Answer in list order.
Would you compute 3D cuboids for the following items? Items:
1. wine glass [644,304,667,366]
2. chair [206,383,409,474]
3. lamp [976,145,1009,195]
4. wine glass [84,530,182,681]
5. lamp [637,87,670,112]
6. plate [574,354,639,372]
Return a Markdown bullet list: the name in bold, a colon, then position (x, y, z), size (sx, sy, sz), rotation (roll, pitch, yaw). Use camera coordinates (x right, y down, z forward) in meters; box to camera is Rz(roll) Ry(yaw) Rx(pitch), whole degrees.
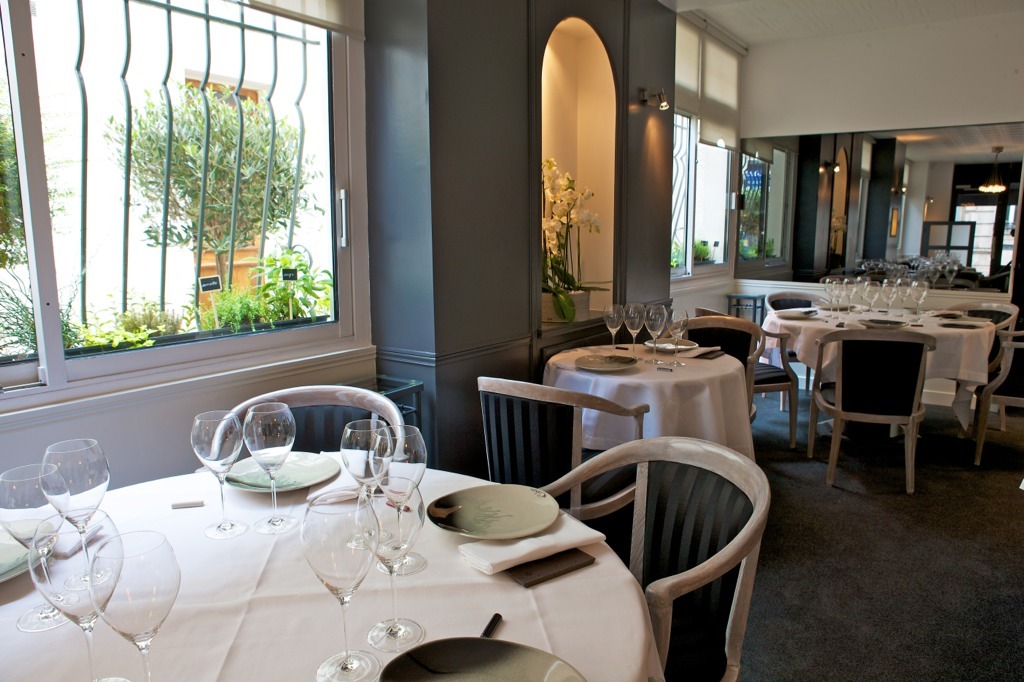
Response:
- **wine glass**: position (0.831, -0.099, 4.012), size (0.133, 0.309, 0.563), rotation (3, 15, 12)
- **chair**: position (-0.742, 0.296, 2.642), size (0.371, 0.468, 0.353), rotation (0, -6, 2)
- **lamp**: position (4.185, -1.495, 6.034), size (0.082, 0.399, 0.203), rotation (-14, 20, -43)
- **wine glass**: position (-0.844, 0.585, 1.564), size (0.196, 0.275, 0.127), rotation (4, 15, 17)
- **lamp**: position (1.035, -1.774, 5.084), size (0.082, 0.155, 0.452), rotation (11, 18, 36)
- **plate**: position (0.492, 0.108, 3.682), size (0.326, 0.039, 0.327), rotation (3, 15, 12)
